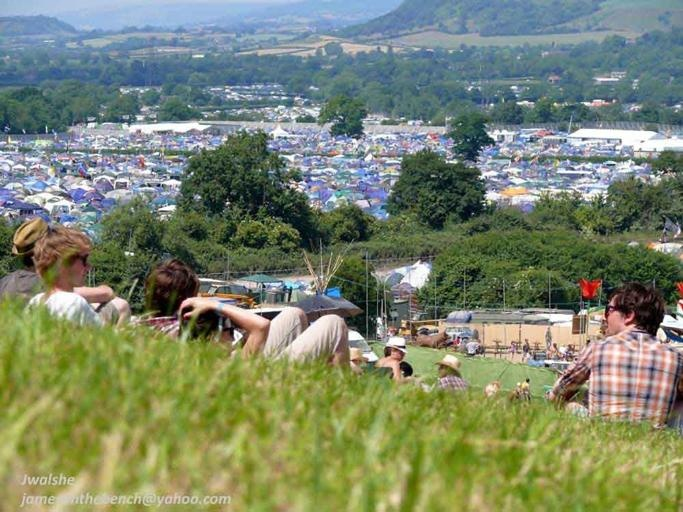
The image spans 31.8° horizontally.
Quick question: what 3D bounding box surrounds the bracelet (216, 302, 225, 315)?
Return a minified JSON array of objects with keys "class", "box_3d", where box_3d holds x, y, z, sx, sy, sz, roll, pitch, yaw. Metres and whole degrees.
[{"class":"bracelet","box_3d":[-0.445,0.180,3.999,0.027,0.030,0.029,-3,23,-1]}]
